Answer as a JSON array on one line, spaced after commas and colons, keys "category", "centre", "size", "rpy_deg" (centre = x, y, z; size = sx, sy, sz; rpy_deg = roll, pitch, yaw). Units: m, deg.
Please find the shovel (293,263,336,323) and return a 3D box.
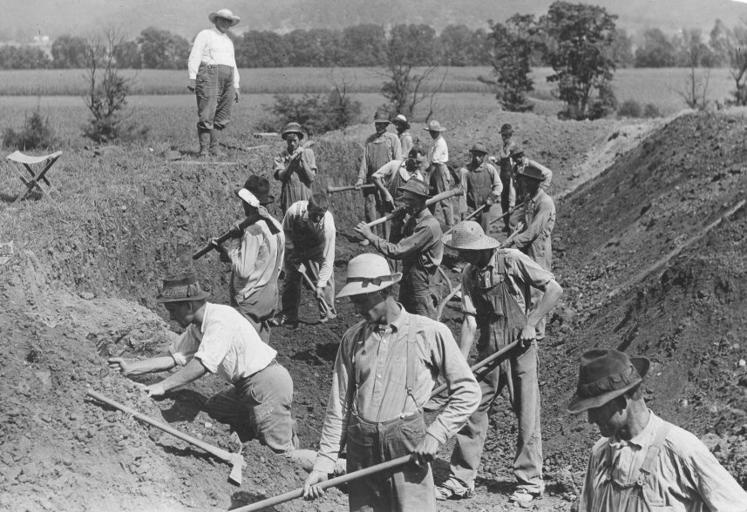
[{"category": "shovel", "centre": [-1.498, 0.884, 37.905], "size": [0.580, 2.029, 0.637], "rpy_deg": [-1, 32, 48]}]
